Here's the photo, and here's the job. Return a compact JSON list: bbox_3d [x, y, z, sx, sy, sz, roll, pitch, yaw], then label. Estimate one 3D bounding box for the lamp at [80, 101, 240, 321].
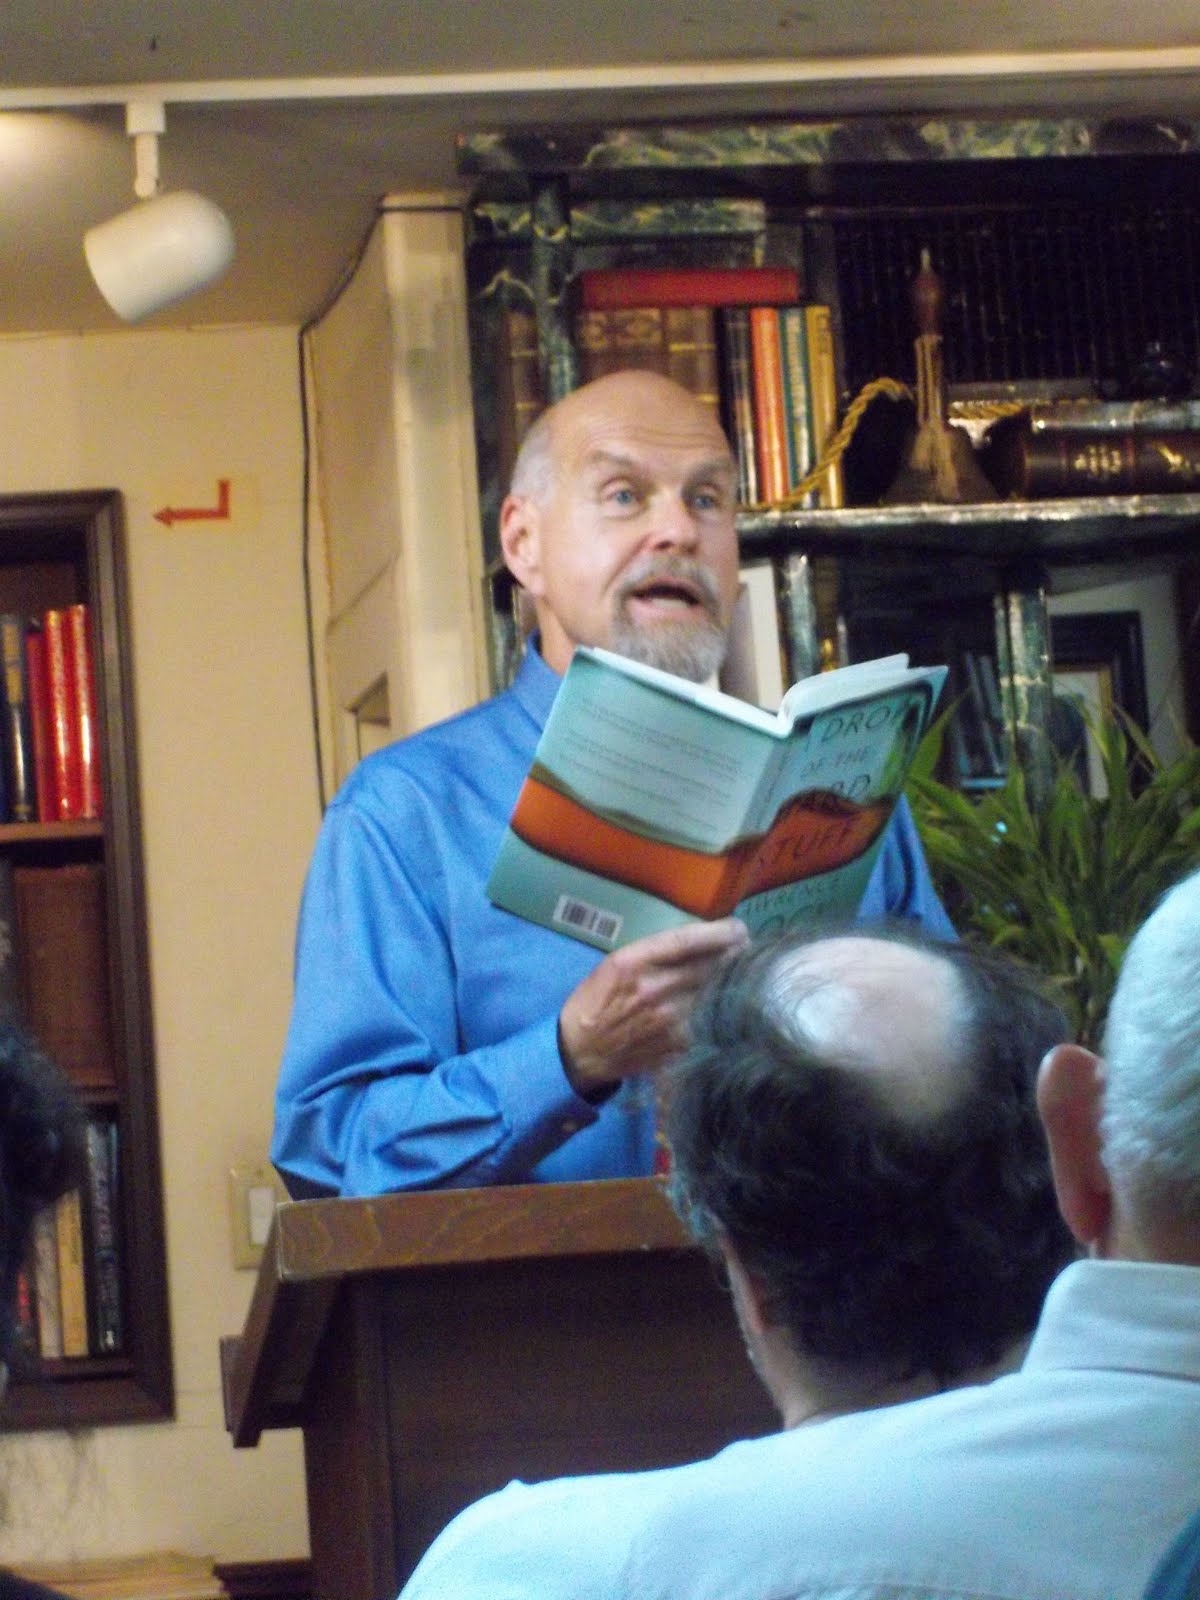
[{"bbox_3d":[-0.518,-0.718,2.592,0.195,0.256,0.111,0,10,6],"label":"lamp"}]
